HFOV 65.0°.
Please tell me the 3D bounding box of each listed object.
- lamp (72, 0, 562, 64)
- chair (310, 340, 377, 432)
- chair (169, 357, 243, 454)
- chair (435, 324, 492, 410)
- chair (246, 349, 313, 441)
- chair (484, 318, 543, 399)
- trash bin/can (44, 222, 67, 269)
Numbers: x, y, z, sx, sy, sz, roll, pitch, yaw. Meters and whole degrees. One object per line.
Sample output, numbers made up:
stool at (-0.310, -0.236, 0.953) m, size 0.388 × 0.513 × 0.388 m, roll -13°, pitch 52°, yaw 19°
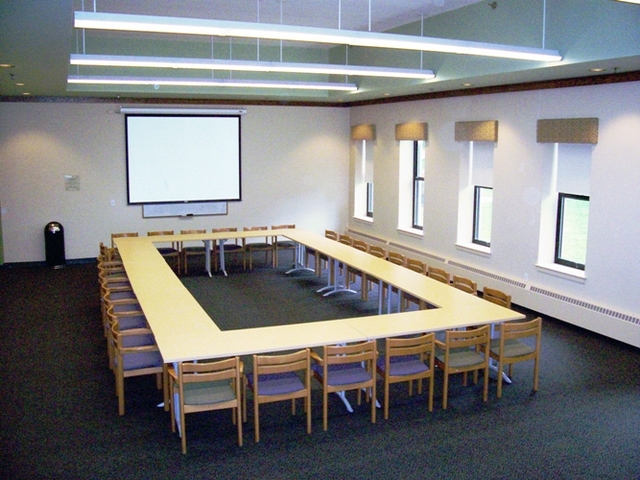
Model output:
lamp at (0.285, -2.346, 5.755) m, size 5.631 × 0.215 × 0.483 m, roll -5°, pitch 13°, yaw -22°
chair at (0.307, 1.572, 5.944) m, size 0.777 × 0.954 × 0.961 m, roll 1°, pitch 12°, yaw 4°
chair at (-1.234, 1.806, 5.422) m, size 0.769 × 1.014 × 0.682 m, roll -4°, pitch 17°, yaw -16°
chair at (1.768, 1.549, 6.368) m, size 0.639 × 0.948 × 0.620 m, roll -2°, pitch 4°, yaw -10°
chair at (-0.420, 1.644, 5.619) m, size 0.647 × 0.944 × 0.619 m, roll -1°, pitch 12°, yaw -6°
chair at (2.514, 1.486, 6.686) m, size 0.639 × 0.969 × 0.690 m, roll -3°, pitch 6°, yaw -6°
trash bin/can at (-6.517, 0.122, 12.330) m, size 0.414 × 1.117 × 0.215 m, roll -11°, pitch 16°, yaw -39°
